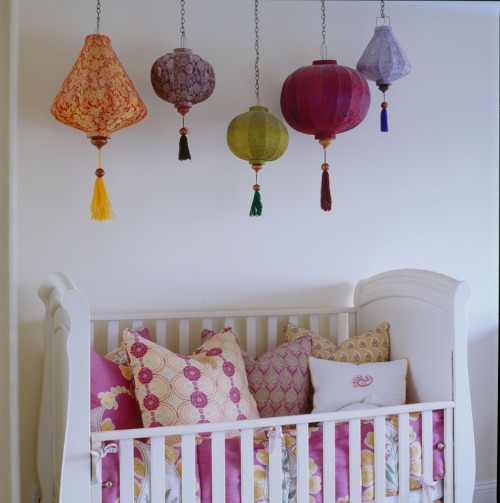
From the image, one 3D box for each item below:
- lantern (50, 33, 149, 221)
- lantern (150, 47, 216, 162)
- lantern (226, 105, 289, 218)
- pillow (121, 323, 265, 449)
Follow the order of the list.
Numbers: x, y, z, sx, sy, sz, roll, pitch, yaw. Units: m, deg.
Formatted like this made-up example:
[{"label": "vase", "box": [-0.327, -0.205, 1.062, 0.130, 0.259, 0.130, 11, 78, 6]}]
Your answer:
[{"label": "lantern", "box": [-0.535, -0.569, 3.494, 0.325, 0.348, 0.206, -3, -12, -3]}, {"label": "lantern", "box": [-0.243, -0.623, 3.571, 0.226, 0.222, 0.138, -4, -12, -1]}, {"label": "lantern", "box": [0.028, -0.373, 3.751, 0.224, 0.455, 0.332, -3, -13, 0]}, {"label": "pillow", "box": [-0.169, 0.415, 3.359, 0.484, 0.353, 0.237, 8, -17, -40]}]
